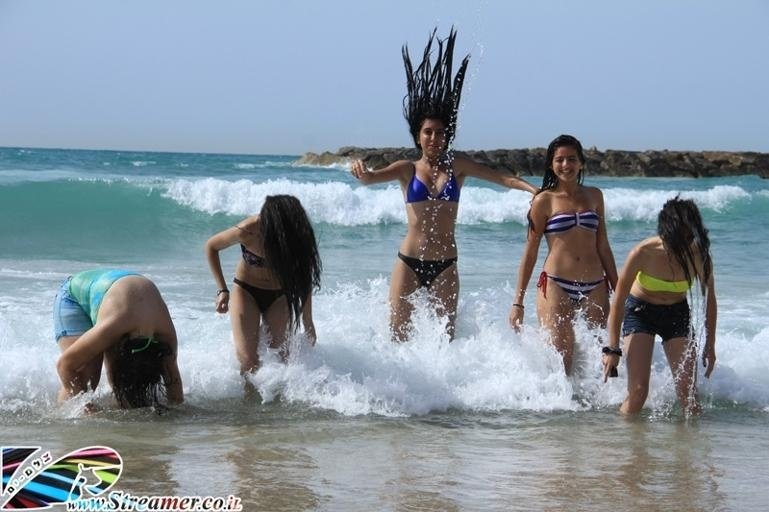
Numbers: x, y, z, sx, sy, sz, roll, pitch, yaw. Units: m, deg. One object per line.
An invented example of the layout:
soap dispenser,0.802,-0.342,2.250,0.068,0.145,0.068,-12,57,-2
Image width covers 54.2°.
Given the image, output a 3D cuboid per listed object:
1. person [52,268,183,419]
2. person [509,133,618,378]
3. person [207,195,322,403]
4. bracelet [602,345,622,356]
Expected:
person,-2.283,0.732,6.411,1.013,1.149,0.537,2,15,2
person,1.750,-0.012,7.188,0.913,2.268,0.699,8,16,21
person,-1.118,0.271,7.205,1.017,1.696,0.547,-2,16,-14
bracelet,1.993,0.833,6.586,0.107,0.040,0.093,5,2,-1
